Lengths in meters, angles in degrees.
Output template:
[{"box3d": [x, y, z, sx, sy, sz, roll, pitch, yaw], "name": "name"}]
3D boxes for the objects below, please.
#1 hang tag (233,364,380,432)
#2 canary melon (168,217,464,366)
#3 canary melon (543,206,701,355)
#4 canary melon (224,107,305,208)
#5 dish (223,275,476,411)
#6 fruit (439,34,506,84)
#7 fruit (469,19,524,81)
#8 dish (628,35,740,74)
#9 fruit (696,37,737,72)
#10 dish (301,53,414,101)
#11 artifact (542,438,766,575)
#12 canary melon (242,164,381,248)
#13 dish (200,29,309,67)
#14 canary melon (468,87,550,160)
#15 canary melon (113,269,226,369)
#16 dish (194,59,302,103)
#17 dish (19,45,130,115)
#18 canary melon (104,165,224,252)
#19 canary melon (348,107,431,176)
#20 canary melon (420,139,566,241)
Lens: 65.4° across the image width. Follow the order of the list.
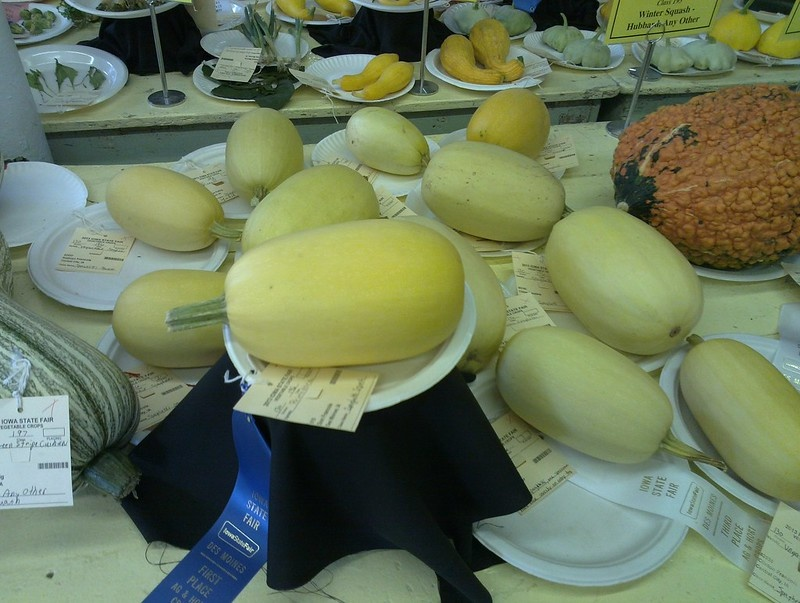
[{"box3d": [-0.103, 0.110, 0.716, 0.146, 0.036, 0.077, 6, 41, 8], "name": "hang tag"}, {"box3d": [-0.137, 0.006, 0.851, 0.210, 0.168, 0.388, 17, -13, -36], "name": "canary melon"}, {"box3d": [0.340, -0.019, 1.015, 0.172, 0.150, 0.245, -39, 55, 4], "name": "canary melon"}, {"box3d": [-0.251, -0.241, 1.167, 0.138, 0.112, 0.180, 24, 56, -2], "name": "canary melon"}, {"box3d": [-0.011, 0.064, 0.705, 0.162, 0.021, 0.154, -25, 44, -21], "name": "dish"}, {"box3d": [0.178, -0.616, 1.669, 0.105, 0.087, 0.187, -44, 57, -7], "name": "fruit"}, {"box3d": [0.233, -0.668, 1.678, 0.101, 0.096, 0.187, 14, 64, -14], "name": "fruit"}, {"box3d": [0.762, -0.663, 1.699, 0.216, 0.080, 0.203, 1, 29, 4], "name": "dish"}, {"box3d": [0.839, -0.644, 1.661, 0.087, 0.088, 0.088, -12, 34, 34], "name": "fruit"}, {"box3d": [-0.108, -0.566, 1.587, 0.225, 0.042, 0.196, 7, 40, 1], "name": "dish"}, {"box3d": [0.346, 0.253, 0.832, 0.087, 0.033, 0.320, -39, 18, -14], "name": "artifact"}, {"box3d": [-0.121, -0.148, 0.951, 0.207, 0.111, 0.115, -2, 12, -23], "name": "canary melon"}, {"box3d": [-0.408, -0.710, 1.723, 0.193, 0.025, 0.182, -2, 40, -11], "name": "dish"}, {"box3d": [0.202, -0.340, 1.238, 0.165, 0.117, 0.121, -31, 34, -28], "name": "canary melon"}, {"box3d": [-0.333, 0.025, 0.952, 0.182, 0.122, 0.127, -4, 6, -4], "name": "canary melon"}, {"box3d": [-0.375, -0.535, 1.561, 0.176, 0.028, 0.175, -25, 52, -30], "name": "dish"}, {"box3d": [-0.804, -0.566, 1.559, 0.222, 0.074, 0.308, -19, 43, -20], "name": "dish"}, {"box3d": [-0.411, -0.160, 1.105, 0.230, 0.126, 0.141, 17, 7, 7], "name": "canary melon"}, {"box3d": [-0.021, -0.301, 1.250, 0.168, 0.104, 0.103, 27, 2, 7], "name": "canary melon"}, {"box3d": [0.152, -0.180, 1.106, 0.232, 0.130, 0.146, 17, 38, 14], "name": "canary melon"}]
